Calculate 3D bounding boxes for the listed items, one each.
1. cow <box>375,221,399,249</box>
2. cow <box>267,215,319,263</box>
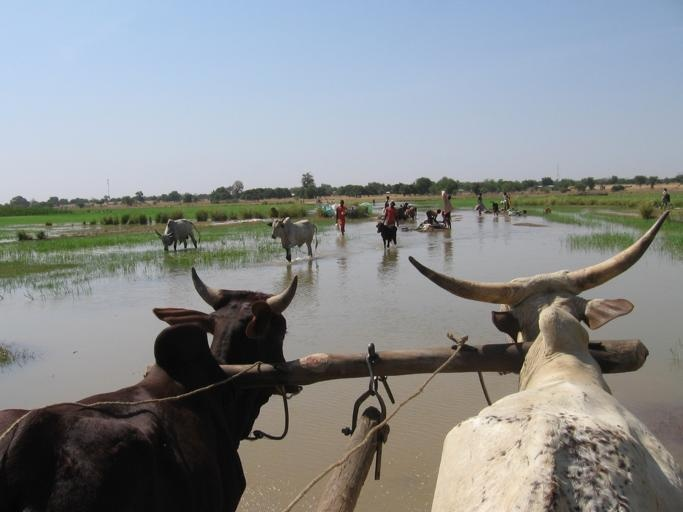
[{"bbox_3d":[2.002,-0.926,23.688,0.682,1.077,1.597,-3,8,10],"label":"cow"},{"bbox_3d":[-1.739,-0.708,20.303,1.496,1.598,3.171,-5,7,-3],"label":"cow"}]
